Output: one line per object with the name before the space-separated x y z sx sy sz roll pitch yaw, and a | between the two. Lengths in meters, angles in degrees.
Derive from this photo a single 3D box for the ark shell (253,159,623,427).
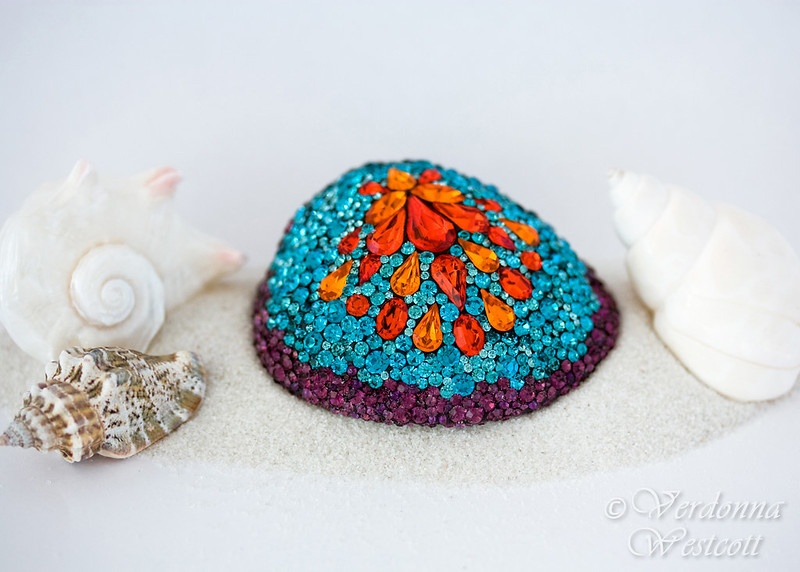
ark shell | 0.076 0.025 1.590 0.691 0.240 0.470 13 55 3

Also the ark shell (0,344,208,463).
ark shell | -0.497 0.175 1.462 0.193 0.118 0.280 38 47 26
